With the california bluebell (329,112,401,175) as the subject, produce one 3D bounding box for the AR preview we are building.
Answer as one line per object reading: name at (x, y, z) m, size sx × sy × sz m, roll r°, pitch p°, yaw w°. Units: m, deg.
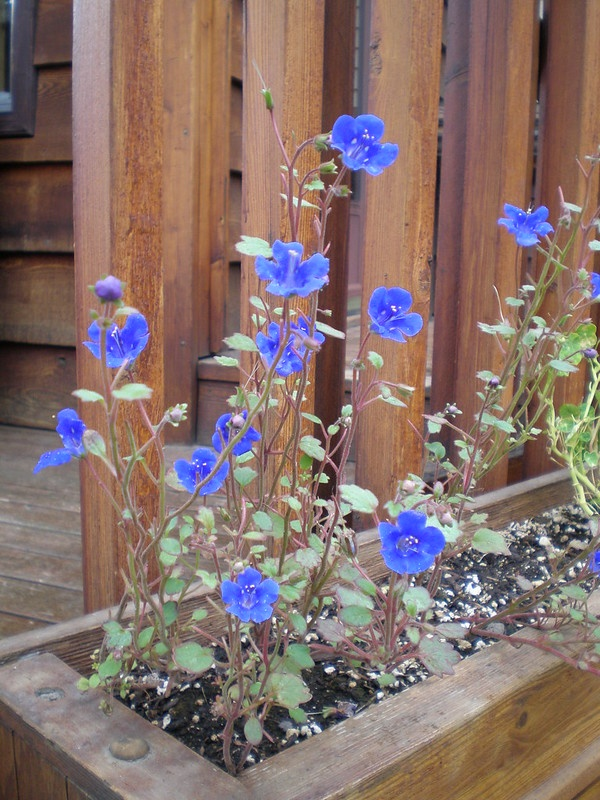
california bluebell at (0.066, -0.273, 0.871) m, size 0.077 × 0.066 × 0.038 m, roll 3°, pitch 16°, yaw -20°
